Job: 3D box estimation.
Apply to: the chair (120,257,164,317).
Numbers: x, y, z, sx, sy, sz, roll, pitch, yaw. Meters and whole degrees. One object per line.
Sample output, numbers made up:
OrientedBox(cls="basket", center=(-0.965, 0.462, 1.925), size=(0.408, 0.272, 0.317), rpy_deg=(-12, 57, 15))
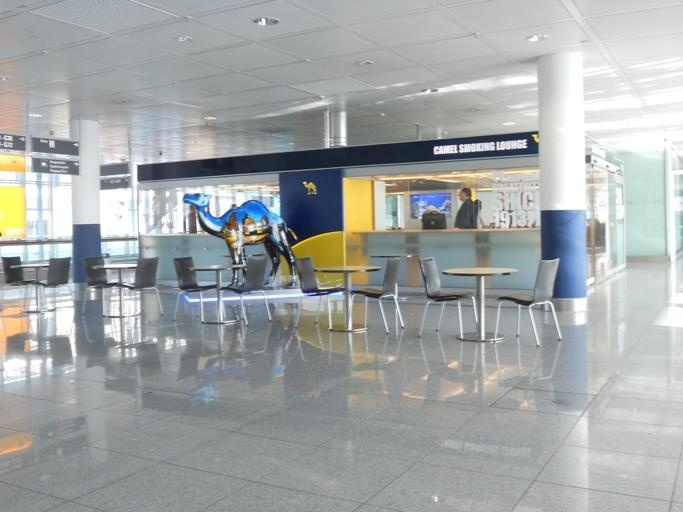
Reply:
OrientedBox(cls="chair", center=(-3.821, 0.672, 9.937), size=(0.960, 1.300, 0.799), rpy_deg=(6, 5, 27))

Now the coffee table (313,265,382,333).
OrientedBox(cls="coffee table", center=(0.213, 0.643, 8.284), size=(1.151, 0.892, 1.072), rpy_deg=(2, 3, 22))

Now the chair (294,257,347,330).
OrientedBox(cls="chair", center=(-0.331, 0.592, 8.307), size=(0.797, 1.048, 0.691), rpy_deg=(2, 2, 29))

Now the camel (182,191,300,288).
OrientedBox(cls="camel", center=(-2.338, -0.392, 11.687), size=(2.754, 1.623, 0.828), rpy_deg=(4, -3, -39))

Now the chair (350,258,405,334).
OrientedBox(cls="chair", center=(0.555, 0.589, 8.099), size=(0.768, 1.046, 0.663), rpy_deg=(1, 0, 22))

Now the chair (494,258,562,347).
OrientedBox(cls="chair", center=(2.584, 0.606, 7.147), size=(0.973, 1.056, 0.865), rpy_deg=(0, 3, 15))

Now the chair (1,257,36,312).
OrientedBox(cls="chair", center=(-6.750, 0.346, 10.682), size=(0.962, 1.137, 0.739), rpy_deg=(-2, 0, 28))

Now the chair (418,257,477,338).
OrientedBox(cls="chair", center=(1.575, 0.576, 7.537), size=(0.841, 0.963, 0.726), rpy_deg=(1, 3, 22))

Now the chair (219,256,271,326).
OrientedBox(cls="chair", center=(-1.701, 0.516, 9.140), size=(0.938, 1.225, 0.761), rpy_deg=(5, 4, 23))

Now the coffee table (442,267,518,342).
OrientedBox(cls="coffee table", center=(1.959, 0.674, 7.447), size=(1.249, 0.920, 1.128), rpy_deg=(-1, 1, 8))

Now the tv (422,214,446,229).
OrientedBox(cls="tv", center=(2.189, -0.845, 12.299), size=(0.555, 0.404, 0.442), rpy_deg=(-2, 3, 7))

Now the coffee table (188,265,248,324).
OrientedBox(cls="coffee table", center=(-2.127, 0.651, 9.194), size=(0.983, 1.123, 0.880), rpy_deg=(6, 6, 36))
